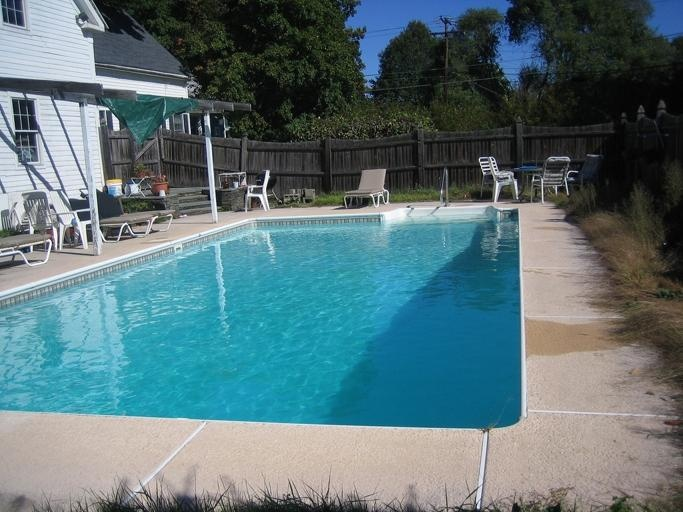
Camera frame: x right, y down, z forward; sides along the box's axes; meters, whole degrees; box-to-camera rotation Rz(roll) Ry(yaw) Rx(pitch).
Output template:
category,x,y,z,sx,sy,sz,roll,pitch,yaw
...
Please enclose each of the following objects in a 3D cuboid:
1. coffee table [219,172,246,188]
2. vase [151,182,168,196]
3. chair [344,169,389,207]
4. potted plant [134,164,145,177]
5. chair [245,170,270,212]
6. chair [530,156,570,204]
category,x,y,z,sx,sy,sz,roll,pitch,yaw
coffee table,-3.719,-2.560,16.898,0.773,0.575,0.807,-2,8,-11
vase,-5.208,-1.889,14.274,0.369,0.304,0.389,0,6,-2
chair,0.853,-2.082,15.328,0.980,1.230,1.524,2,9,25
potted plant,-6.465,-2.706,15.914,0.299,0.420,0.629,-8,10,-23
chair,-2.680,-2.043,15.694,0.899,1.215,2.644,-5,9,-9
chair,5.853,-2.129,13.901,0.888,1.178,1.964,0,10,22
